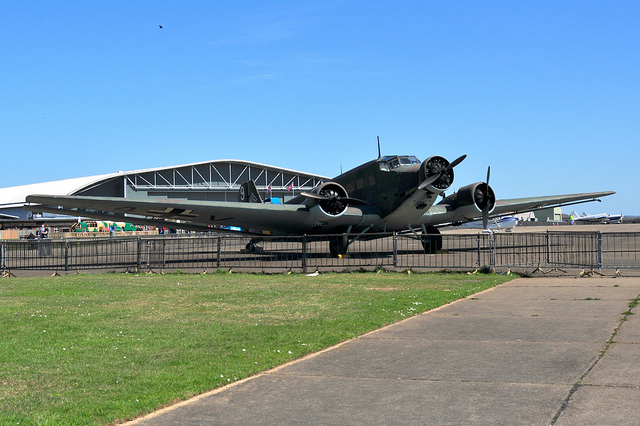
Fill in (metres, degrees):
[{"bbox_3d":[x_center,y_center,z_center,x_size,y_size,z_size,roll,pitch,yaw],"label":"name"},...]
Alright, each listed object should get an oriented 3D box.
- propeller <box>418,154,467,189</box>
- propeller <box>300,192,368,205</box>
[{"bbox_3d":[5.643,-1.892,33.575,1.967,1.506,0.886,3,10,21],"label":"propeller"},{"bbox_3d":[0.843,-0.668,35.512,3.359,0.739,1.350,-4,9,-24],"label":"propeller"}]
